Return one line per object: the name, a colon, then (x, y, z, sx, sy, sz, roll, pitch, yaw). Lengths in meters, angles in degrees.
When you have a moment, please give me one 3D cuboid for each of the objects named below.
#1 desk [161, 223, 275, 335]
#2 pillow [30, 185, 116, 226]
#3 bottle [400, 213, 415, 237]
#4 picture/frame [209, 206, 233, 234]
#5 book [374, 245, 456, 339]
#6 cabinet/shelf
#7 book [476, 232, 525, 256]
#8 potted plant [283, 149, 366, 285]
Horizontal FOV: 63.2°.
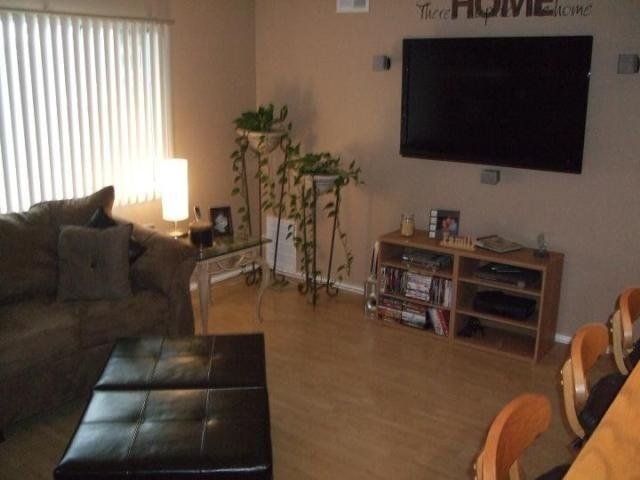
desk: (-0.883, 0.318, 4.337, 0.760, 0.769, 0.775, 12, 17, 42)
pillow: (-1.815, -0.235, 3.815, 0.329, 0.109, 0.350, 3, 42, -12)
bottle: (0.752, -0.133, 4.409, 0.116, 0.182, 0.167, 2, 2, 27)
picture/frame: (-0.860, -0.175, 4.515, 0.025, 0.262, 0.212, 0, 9, 38)
book: (0.803, 0.430, 4.275, 0.594, 0.596, 0.239, 10, 13, 32)
cabinet/shelf: (1.205, 0.430, 4.253, 1.352, 0.803, 0.470, 9, 15, 43)
book: (1.417, 0.024, 4.136, 0.357, 0.080, 0.380, 7, 14, 23)
potted plant: (-0.025, -0.190, 4.921, 0.780, 1.282, 0.684, 6, 13, 20)
